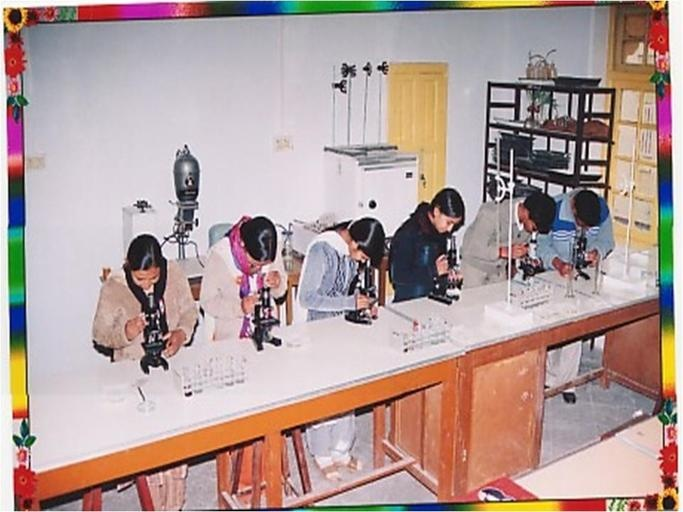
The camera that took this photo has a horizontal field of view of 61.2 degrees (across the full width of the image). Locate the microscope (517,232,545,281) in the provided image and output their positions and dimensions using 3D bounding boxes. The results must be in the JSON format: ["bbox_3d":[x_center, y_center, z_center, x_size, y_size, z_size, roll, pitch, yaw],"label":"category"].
[{"bbox_3d":[1.562,0.003,4.794,0.205,0.386,0.147,-26,49,-17],"label":"microscope"}]

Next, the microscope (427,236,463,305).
[{"bbox_3d":[0.784,0.113,4.317,0.209,0.496,0.246,10,22,41],"label":"microscope"}]

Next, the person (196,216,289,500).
[{"bbox_3d":[-0.714,0.737,4.326,0.554,1.965,0.601,-5,15,-28],"label":"person"}]

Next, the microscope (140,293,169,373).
[{"bbox_3d":[-1.131,0.435,3.437,0.161,0.460,0.247,-4,11,-19],"label":"microscope"}]

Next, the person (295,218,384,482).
[{"bbox_3d":[-0.050,0.553,4.292,0.581,1.997,0.576,19,18,33],"label":"person"}]

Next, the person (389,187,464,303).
[{"bbox_3d":[0.767,-0.061,4.946,0.501,1.111,0.524,-5,15,-26],"label":"person"}]

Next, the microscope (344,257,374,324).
[{"bbox_3d":[0.141,0.227,4.001,0.142,0.459,0.176,-4,17,-31],"label":"microscope"}]

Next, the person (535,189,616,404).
[{"bbox_3d":[2.070,0.098,5.166,0.641,2.278,0.668,-9,18,-38],"label":"person"}]

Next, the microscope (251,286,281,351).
[{"bbox_3d":[-0.494,0.373,3.708,0.188,0.389,0.249,-4,11,-16],"label":"microscope"}]
